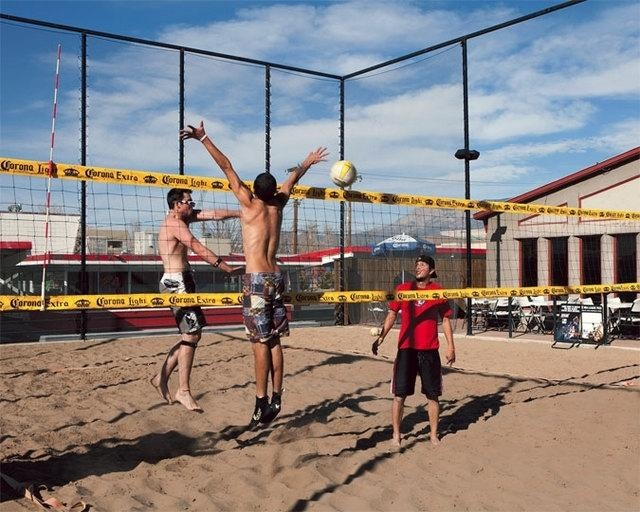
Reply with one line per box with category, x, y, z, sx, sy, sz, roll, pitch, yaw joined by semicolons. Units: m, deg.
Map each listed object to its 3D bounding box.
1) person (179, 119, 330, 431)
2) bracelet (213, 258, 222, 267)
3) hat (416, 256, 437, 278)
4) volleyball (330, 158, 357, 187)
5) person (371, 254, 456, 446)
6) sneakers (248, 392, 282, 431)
person;-0.627;0.233;5.562;0.706;2.415;0.676;0;7;-11
bracelet;-0.962;0.061;6.023;0.087;0.035;0.083;-46;7;37
hat;0.985;0.113;6.171;0.255;0.205;0.181;13;-10;-32
volleyball;0.247;-0.891;6.955;0.262;0.295;0.334;0;6;-9
person;0.866;0.862;6.018;0.731;1.698;0.905;3;7;10
sneakers;-0.531;1.391;5.637;0.179;0.209;0.511;-22;-9;-32
